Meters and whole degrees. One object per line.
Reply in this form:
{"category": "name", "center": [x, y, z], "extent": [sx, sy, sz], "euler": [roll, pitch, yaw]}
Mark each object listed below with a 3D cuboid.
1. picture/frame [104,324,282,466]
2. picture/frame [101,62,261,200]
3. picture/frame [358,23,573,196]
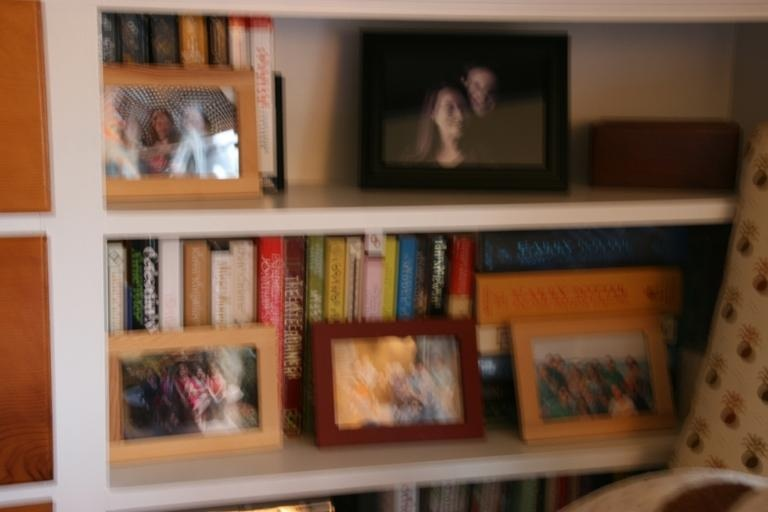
{"category": "picture/frame", "center": [-0.395, 0.277, 1.470], "extent": [0.267, 0.210, 0.038], "euler": [-2, 5, -9]}
{"category": "picture/frame", "center": [-0.405, -0.244, 1.426], "extent": [0.254, 0.233, 0.035], "euler": [-1, 6, -10]}
{"category": "picture/frame", "center": [0.162, -0.306, 1.489], "extent": [0.312, 0.244, 0.033], "euler": [1, 3, -1]}
